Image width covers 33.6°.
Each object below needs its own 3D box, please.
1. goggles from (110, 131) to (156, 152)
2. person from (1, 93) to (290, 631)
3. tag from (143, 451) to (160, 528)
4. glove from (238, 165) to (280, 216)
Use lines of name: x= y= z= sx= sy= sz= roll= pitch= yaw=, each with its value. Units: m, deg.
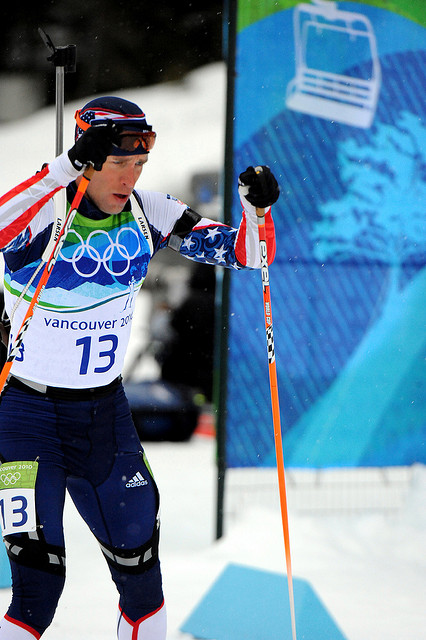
goggles: x=-0.203 y=-0.476 z=1.922 sx=0.083 sy=0.028 sz=0.083 roll=7 pitch=9 yaw=40
person: x=-0.213 y=0.114 z=1.957 sx=0.805 sy=1.367 sz=0.933 roll=1 pitch=22 yaw=0
tag: x=-0.175 y=0.478 z=2.017 sx=0.035 sy=0.021 sz=0.288 roll=-27 pitch=31 yaw=3
glove: x=0.137 y=-0.381 z=2.095 sx=0.121 sy=0.155 sz=0.122 roll=-1 pitch=22 yaw=-4
